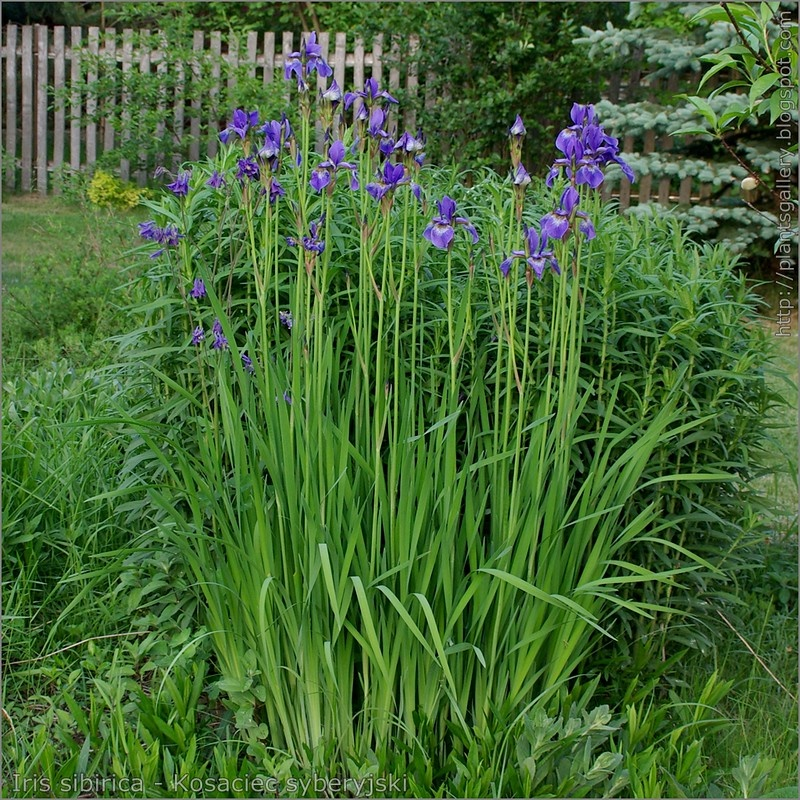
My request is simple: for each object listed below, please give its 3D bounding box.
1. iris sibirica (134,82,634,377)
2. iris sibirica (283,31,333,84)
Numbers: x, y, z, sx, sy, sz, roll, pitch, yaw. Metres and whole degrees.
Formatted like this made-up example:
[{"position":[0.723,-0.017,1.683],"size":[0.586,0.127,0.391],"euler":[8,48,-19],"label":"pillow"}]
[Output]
[{"position":[-0.066,-0.481,2.571],"size":[1.405,0.813,0.598],"euler":[14,23,25],"label":"iris sibirica"},{"position":[-0.258,-0.949,2.477],"size":[0.122,0.142,0.350],"euler":[0,23,-8],"label":"iris sibirica"}]
